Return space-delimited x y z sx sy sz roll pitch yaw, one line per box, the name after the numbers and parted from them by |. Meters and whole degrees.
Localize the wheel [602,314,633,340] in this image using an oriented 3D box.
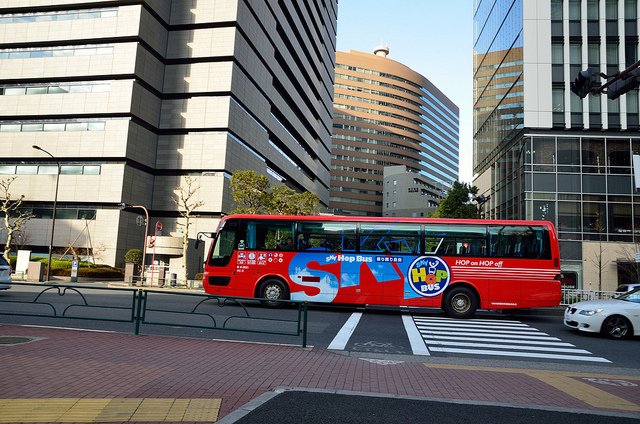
12.545 4.864 22.241 1.091 1.075 0.415 4 0 15 | wheel

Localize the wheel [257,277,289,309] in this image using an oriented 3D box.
-2.263 3.979 25.856 1.637 1.606 0.649 0 -1 7 | wheel

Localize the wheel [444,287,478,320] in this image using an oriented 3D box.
6.806 4.410 25.541 1.570 1.538 0.553 2 -5 4 | wheel

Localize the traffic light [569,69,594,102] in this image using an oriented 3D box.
9.482 -4.687 19.012 0.685 1.016 0.633 8 11 24 | traffic light
